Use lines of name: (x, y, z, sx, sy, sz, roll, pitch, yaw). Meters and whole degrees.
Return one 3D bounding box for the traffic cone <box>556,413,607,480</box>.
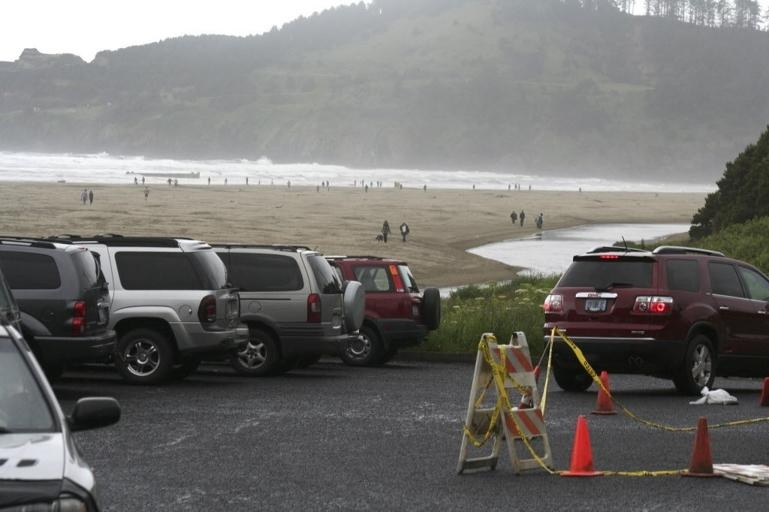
traffic cone: (2.332, 2.101, 7.784, 0.632, 0.780, 0.627, 1, -6, -15)
